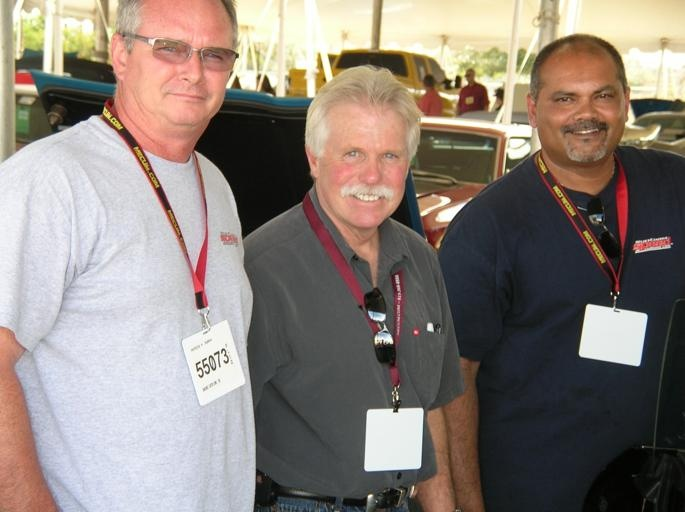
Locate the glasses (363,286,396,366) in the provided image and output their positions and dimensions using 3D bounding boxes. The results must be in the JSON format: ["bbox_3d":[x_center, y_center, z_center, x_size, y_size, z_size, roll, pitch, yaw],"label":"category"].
[{"bbox_3d":[0.128,0.256,2.333,0.072,0.262,0.122,-5,9,-34],"label":"glasses"}]

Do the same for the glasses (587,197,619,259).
[{"bbox_3d":[1.141,-0.117,2.884,0.094,0.278,0.140,-2,8,-19],"label":"glasses"}]

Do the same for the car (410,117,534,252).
[{"bbox_3d":[1.016,-0.717,5.912,0.890,0.747,1.557,3,13,25],"label":"car"}]
